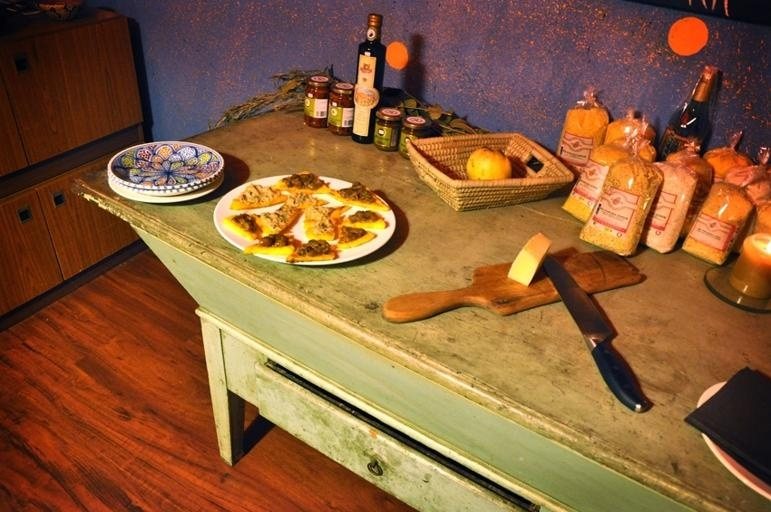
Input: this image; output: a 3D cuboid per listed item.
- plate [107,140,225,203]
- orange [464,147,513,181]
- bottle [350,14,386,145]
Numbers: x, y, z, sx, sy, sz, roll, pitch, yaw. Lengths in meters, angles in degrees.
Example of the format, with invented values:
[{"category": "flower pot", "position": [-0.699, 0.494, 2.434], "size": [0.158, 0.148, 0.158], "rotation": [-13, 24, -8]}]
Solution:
[{"category": "plate", "position": [-0.622, -0.238, 1.477], "size": [0.237, 0.099, 0.236], "rotation": [-22, 36, -34]}, {"category": "orange", "position": [0.308, -0.274, 1.600], "size": [0.137, 0.109, 0.121], "rotation": [11, 13, -1]}, {"category": "bottle", "position": [-0.056, -0.584, 1.724], "size": [0.129, 0.404, 0.131], "rotation": [5, 31, -3]}]
